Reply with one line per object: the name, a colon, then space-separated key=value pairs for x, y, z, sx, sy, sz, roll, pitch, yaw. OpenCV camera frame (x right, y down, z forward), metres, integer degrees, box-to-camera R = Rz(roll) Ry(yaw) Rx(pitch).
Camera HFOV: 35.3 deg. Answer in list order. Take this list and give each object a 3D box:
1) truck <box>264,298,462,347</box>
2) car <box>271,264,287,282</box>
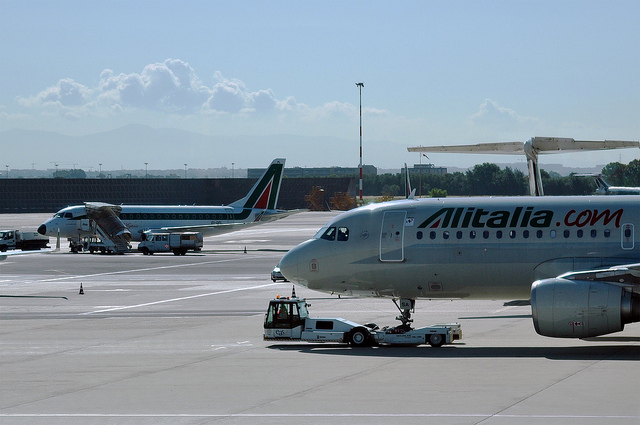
truck: x=1.934 y=5.401 z=48.143 sx=9.115 sy=1.862 sz=3.171 roll=-1 pitch=1 yaw=4
car: x=-2.756 y=4.083 z=68.205 sx=1.351 sy=0.797 sz=2.753 roll=0 pitch=-3 yaw=-6
